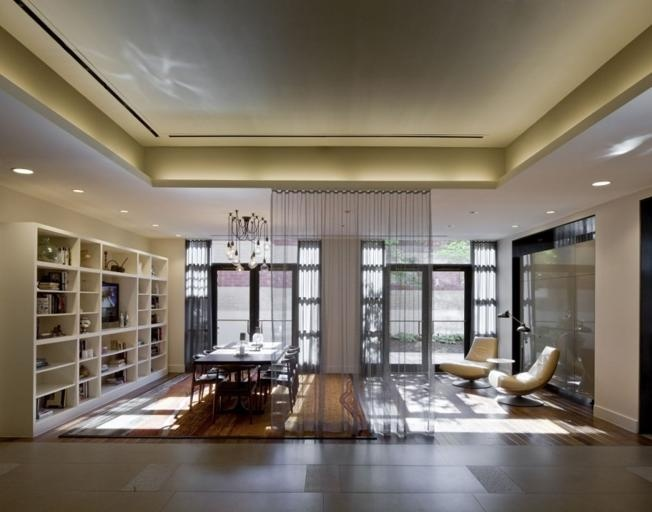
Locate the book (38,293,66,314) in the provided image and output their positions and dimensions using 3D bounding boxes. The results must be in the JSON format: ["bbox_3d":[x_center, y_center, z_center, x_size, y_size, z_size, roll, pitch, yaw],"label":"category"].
[{"bbox_3d":[-3.505,0.615,5.677,0.211,0.294,0.297,-1,-3,4],"label":"book"}]

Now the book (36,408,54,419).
[{"bbox_3d":[-3.543,1.989,5.594,0.131,0.069,0.334,1,-2,-3],"label":"book"}]

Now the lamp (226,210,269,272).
[{"bbox_3d":[-1.399,-0.257,7.703,0.641,0.880,0.712,0,4,-42],"label":"lamp"}]

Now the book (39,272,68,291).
[{"bbox_3d":[-3.553,0.330,5.797,0.327,0.247,0.309,1,-2,-31],"label":"book"}]

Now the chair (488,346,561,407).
[{"bbox_3d":[3.090,1.840,6.883,0.908,0.875,0.716,2,-4,0],"label":"chair"}]

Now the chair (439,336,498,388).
[{"bbox_3d":[2.621,1.932,8.108,1.042,0.927,0.926,14,-12,-43],"label":"chair"}]

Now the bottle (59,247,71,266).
[{"bbox_3d":[-3.497,0.000,5.975,0.088,0.238,0.228,1,-1,-3],"label":"bottle"}]
